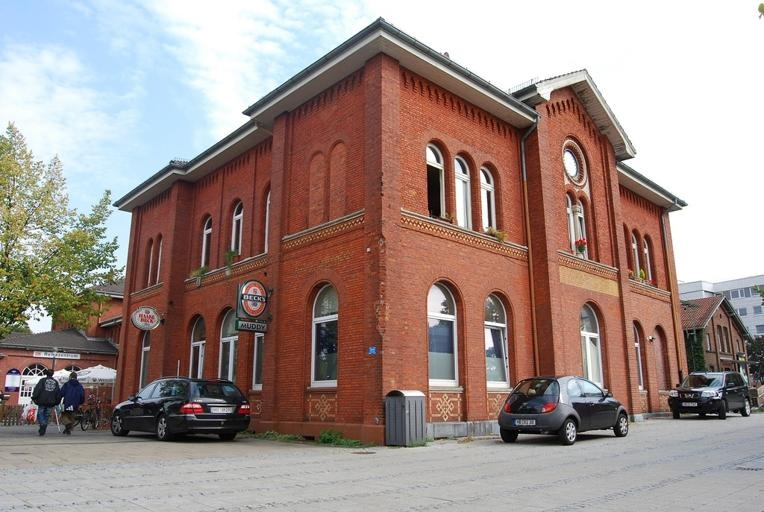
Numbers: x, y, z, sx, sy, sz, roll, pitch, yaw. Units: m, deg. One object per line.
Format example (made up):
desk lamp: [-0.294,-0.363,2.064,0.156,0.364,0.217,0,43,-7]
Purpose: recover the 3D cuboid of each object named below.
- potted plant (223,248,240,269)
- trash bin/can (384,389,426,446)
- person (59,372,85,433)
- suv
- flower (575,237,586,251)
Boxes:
potted plant: [-6.491,0.049,23.874,0.853,0.813,0.730,-5,-30,4]
trash bin/can: [0.664,4.769,16.314,1.204,1.580,0.862,0,-21,-1]
person: [-11.953,5.697,21.077,0.694,2.094,0.768,1,-21,-4]
suv: [15.730,6.629,26.477,4.213,2.289,1.680,12,-24,-31]
flower: [8.826,-0.495,24.520,0.527,0.569,0.539,7,-12,-14]
